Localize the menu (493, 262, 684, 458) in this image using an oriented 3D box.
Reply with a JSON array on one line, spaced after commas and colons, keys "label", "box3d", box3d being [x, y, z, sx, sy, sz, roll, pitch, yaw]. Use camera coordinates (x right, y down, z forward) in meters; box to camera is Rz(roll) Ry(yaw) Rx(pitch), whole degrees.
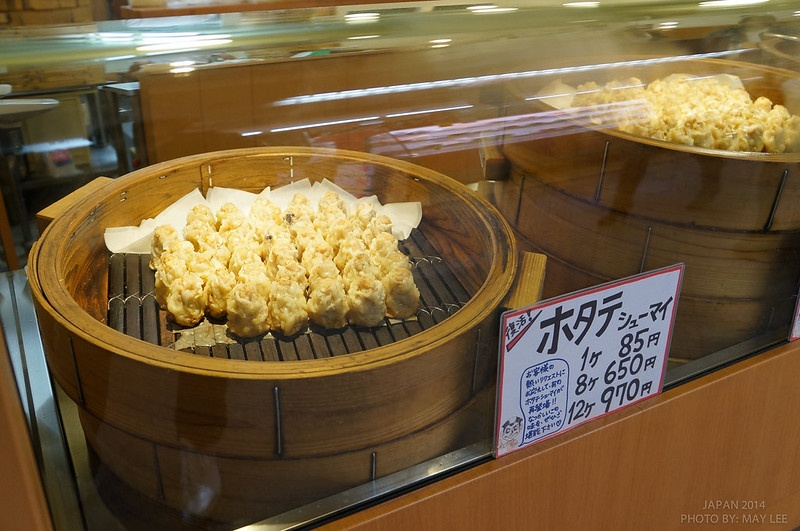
[{"label": "menu", "box3d": [0.450, 0.229, 1.400, 0.647, 0.373, 0.008, -12, 34, -23]}]
